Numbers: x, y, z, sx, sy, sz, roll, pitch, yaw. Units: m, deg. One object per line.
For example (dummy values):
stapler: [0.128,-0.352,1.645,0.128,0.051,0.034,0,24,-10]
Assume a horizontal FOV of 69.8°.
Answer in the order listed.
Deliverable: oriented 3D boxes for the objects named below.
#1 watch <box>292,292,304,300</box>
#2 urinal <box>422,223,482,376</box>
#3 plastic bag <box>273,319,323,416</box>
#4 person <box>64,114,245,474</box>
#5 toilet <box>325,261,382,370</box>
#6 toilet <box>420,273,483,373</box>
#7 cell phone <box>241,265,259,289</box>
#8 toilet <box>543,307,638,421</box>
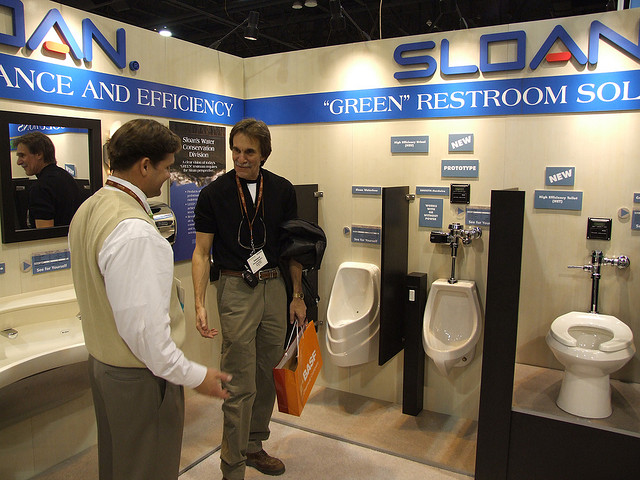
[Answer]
watch: [-0.145,0.394,3.248,0.051,0.034,0.039,-11,-13,43]
urinal: [1.104,0.494,3.842,0.509,1.255,0.382,7,7,21]
plastic bag: [-0.151,0.727,2.968,0.172,0.543,0.552,0,22,14]
person: [-0.820,0.316,2.164,0.729,1.742,0.385,3,7,-19]
toilet: [0.280,0.674,4.237,0.511,0.743,0.735,7,17,40]
toilet: [1.120,0.815,3.936,0.500,0.836,0.592,-7,25,4]
cell phone: [-0.469,0.236,3.066,0.077,0.131,0.043,-44,18,-32]
toilet: [1.980,0.857,3.336,0.472,0.595,0.755,5,11,34]
